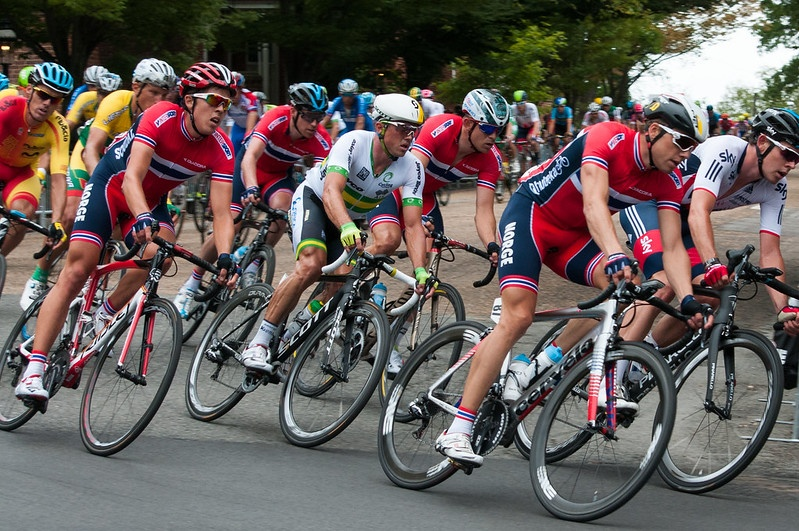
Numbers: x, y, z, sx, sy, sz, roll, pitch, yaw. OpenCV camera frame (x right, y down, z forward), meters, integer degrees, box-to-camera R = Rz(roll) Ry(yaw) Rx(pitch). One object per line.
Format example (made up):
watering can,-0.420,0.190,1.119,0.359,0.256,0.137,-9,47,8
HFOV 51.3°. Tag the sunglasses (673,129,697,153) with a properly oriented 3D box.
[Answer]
sunglasses,1.859,-0.801,5.435,0.136,0.058,0.143,20,24,-46

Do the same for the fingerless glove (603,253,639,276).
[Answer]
fingerless glove,1.354,-0.008,5.241,0.155,0.070,0.191,12,-10,-20

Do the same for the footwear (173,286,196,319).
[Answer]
footwear,-2.147,0.382,8.355,0.151,0.200,0.422,19,19,-31

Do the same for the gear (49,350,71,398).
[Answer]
gear,-2.587,0.813,6.289,0.129,0.284,0.302,20,-46,-29

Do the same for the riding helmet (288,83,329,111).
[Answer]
riding helmet,-0.977,-1.733,8.514,0.298,0.135,0.372,-1,19,-31

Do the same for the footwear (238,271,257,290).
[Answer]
footwear,-1.498,0.149,8.195,0.141,0.183,0.054,23,-32,35

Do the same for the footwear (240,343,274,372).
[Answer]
footwear,-1.113,0.736,6.483,0.240,0.207,0.190,0,13,-13

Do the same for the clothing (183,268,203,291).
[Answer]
clothing,-2.275,0.168,9.186,0.072,0.193,0.218,38,-23,-24

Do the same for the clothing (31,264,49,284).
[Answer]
clothing,-3.772,0.095,8.845,0.171,0.153,0.144,29,0,37

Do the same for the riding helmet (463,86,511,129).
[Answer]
riding helmet,0.821,-1.433,7.600,0.389,0.374,0.451,-16,28,-26

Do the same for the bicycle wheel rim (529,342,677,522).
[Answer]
bicycle wheel rim,1.279,1.035,5.290,0.821,1.118,0.720,6,13,10

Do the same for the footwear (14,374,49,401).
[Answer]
footwear,-2.711,0.912,6.146,0.211,0.186,0.177,-4,15,-28

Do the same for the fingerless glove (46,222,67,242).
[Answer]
fingerless glove,-3.032,-0.303,7.354,0.083,0.170,0.138,-33,-34,21

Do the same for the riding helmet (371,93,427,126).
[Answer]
riding helmet,-0.012,-1.195,6.468,0.353,0.160,0.244,19,34,27

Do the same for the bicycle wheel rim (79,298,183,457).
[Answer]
bicycle wheel rim,-1.948,0.788,5.985,0.756,1.051,0.605,3,13,-4

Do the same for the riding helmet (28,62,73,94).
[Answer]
riding helmet,-3.215,-1.739,7.647,0.301,0.171,0.404,6,16,-41

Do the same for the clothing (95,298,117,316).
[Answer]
clothing,-2.352,0.359,6.697,0.168,0.122,0.164,-26,-4,-1

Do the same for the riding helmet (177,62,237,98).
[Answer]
riding helmet,-1.492,-1.464,6.456,0.383,0.241,0.489,-4,16,-41

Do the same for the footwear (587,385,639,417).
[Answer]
footwear,1.365,0.883,5.267,0.271,0.087,0.191,16,-1,33

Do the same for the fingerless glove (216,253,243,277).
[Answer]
fingerless glove,-1.376,0.004,6.737,0.187,0.197,0.502,-8,-7,-9

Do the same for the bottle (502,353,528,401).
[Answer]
bottle,0.796,0.784,5.706,0.123,0.332,0.158,17,-7,38

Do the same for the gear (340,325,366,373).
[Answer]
gear,-0.356,0.625,6.340,0.205,0.372,0.097,8,14,19

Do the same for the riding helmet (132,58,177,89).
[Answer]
riding helmet,-2.471,-1.904,8.265,0.399,0.217,0.293,15,29,36

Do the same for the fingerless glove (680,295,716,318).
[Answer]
fingerless glove,1.994,0.282,5.582,0.213,0.076,0.133,9,8,25

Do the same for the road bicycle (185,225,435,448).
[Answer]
road bicycle,-0.908,0.617,6.787,0.695,1.563,2.779,36,-22,-32

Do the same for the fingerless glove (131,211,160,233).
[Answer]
fingerless glove,-1.828,-0.309,6.007,0.170,0.135,0.177,-4,15,-31

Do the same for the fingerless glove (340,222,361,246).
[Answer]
fingerless glove,-0.367,-0.228,6.207,0.149,0.175,0.230,2,13,-6
